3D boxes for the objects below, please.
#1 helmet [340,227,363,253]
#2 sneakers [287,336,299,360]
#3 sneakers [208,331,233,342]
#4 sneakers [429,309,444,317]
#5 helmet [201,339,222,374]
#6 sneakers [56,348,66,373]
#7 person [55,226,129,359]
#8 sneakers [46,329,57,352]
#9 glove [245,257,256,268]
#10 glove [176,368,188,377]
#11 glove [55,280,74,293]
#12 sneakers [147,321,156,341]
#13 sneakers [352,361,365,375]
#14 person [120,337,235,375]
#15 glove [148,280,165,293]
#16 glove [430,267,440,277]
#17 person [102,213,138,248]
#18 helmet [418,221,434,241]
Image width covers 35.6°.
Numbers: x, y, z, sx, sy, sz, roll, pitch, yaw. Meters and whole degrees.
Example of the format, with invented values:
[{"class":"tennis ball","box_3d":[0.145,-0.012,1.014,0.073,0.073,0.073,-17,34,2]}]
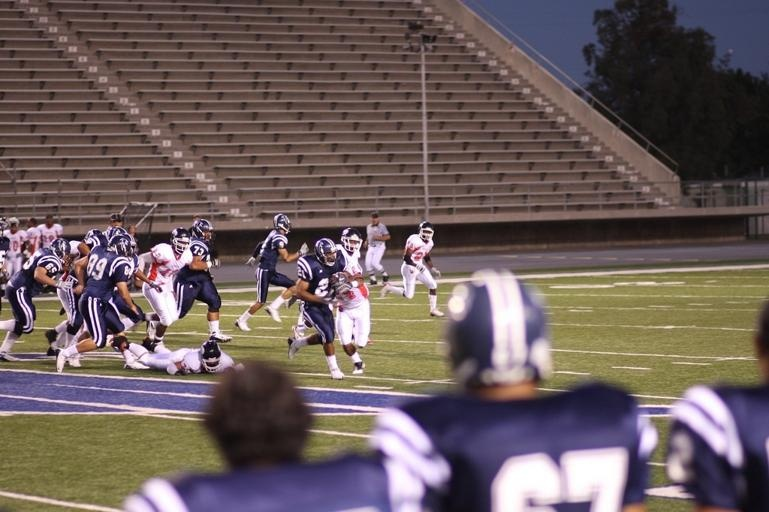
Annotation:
[{"class":"helmet","box_3d":[-0.575,-0.298,20.747,0.367,0.352,0.454,4,10,-26]},{"class":"sneakers","box_3d":[-1.588,1.532,20.514,0.233,0.466,0.166,7,11,8]},{"class":"sneakers","box_3d":[-3.049,1.495,22.249,0.494,0.231,0.173,4,19,9]},{"class":"sneakers","box_3d":[1.070,1.169,24.754,0.266,0.108,0.129,0,17,4]},{"class":"helmet","box_3d":[-2.876,1.589,20.147,0.376,0.443,0.491,6,46,-23]},{"class":"sneakers","box_3d":[-5.553,1.755,20.297,0.214,0.445,0.159,1,4,4]},{"class":"person","box_3d":[-5.012,0.748,20.733,1.229,2.270,1.430,1,12,-6]},{"class":"sneakers","box_3d":[-6.085,1.538,21.588,0.163,0.436,0.201,3,13,-3]},{"class":"glove","box_3d":[-3.482,0.145,30.598,0.192,0.145,0.326,29,-2,-8]},{"class":"glove","box_3d":[-3.456,1.940,20.099,0.136,0.078,0.173,6,-5,-26]},{"class":"glove","box_3d":[-5.782,0.528,21.460,0.302,0.228,0.087,12,-26,10]},{"class":"sneakers","box_3d":[-4.252,1.320,21.584,0.146,0.383,0.175,0,3,9]},{"class":"sneakers","box_3d":[-0.460,1.829,19.894,0.114,0.125,0.314,0,6,-6]},{"class":"person","box_3d":[-3.549,1.700,20.276,1.506,0.391,0.993,13,7,43]},{"class":"glove","box_3d":[-4.144,0.529,21.429,0.243,0.091,0.190,34,11,-3]},{"class":"glove","box_3d":[1.207,0.383,29.464,0.099,0.262,0.198,-33,5,-15]},{"class":"person","box_3d":[-5.782,-0.579,25.707,1.154,0.725,1.468,3,0,-20]},{"class":"helmet","box_3d":[0.936,-0.540,25.420,0.357,0.339,0.437,6,2,-13]}]
